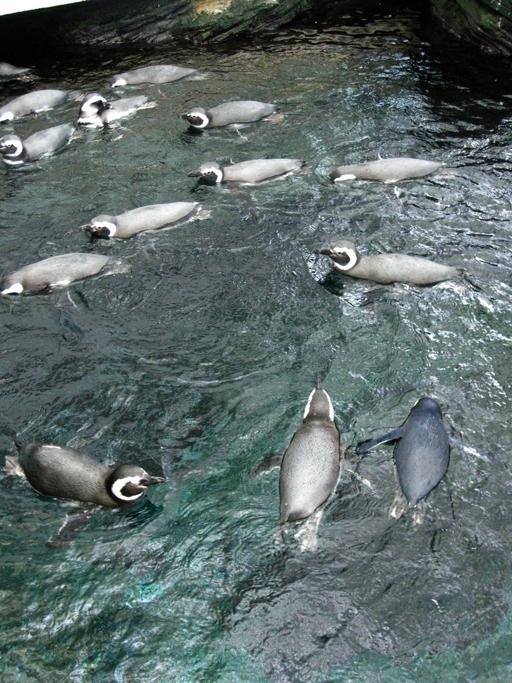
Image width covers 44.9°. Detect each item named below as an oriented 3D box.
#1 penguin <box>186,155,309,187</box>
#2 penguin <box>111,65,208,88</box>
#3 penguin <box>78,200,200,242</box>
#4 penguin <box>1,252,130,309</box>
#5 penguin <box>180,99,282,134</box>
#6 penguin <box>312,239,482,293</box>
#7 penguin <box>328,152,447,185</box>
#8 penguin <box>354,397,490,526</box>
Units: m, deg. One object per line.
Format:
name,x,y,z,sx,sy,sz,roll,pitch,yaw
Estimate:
penguin,-0.062,-1.533,5.636,1.067,0.201,0.238,-3,24,-5
penguin,-1.236,-3.230,7.666,1.345,0.275,0.397,-6,-5,-9
penguin,-0.910,-1.009,5.155,1.019,0.200,0.333,-13,22,-15
penguin,-1.404,-0.490,4.654,0.930,0.252,0.376,-15,27,-31
penguin,-0.288,-2.517,6.907,1.226,0.333,0.906,-2,24,-5
penguin,1.007,-0.562,4.453,1.075,0.296,0.244,6,26,17
penguin,1.165,-1.509,5.483,0.993,0.192,0.264,1,24,5
penguin,0.836,0.554,3.146,0.518,0.171,0.650,-4,29,21
